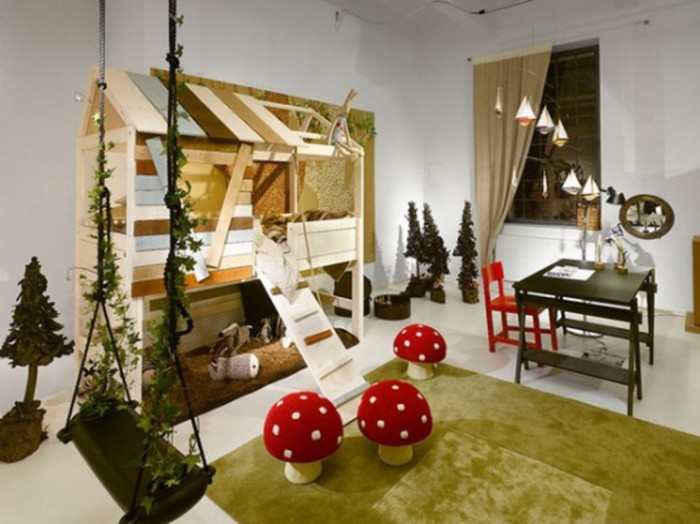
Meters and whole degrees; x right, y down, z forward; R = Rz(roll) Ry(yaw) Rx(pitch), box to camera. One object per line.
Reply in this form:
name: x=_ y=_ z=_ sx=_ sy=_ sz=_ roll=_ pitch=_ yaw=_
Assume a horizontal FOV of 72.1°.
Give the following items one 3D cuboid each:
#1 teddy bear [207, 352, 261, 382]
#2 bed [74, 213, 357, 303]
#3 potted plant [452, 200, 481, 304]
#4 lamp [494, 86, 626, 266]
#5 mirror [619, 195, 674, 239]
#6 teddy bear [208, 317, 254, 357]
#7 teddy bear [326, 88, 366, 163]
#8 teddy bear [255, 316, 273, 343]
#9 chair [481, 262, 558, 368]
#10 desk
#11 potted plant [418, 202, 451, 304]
teddy bear: x=-1.096 y=0.991 z=4.475 sx=0.403 sy=0.225 sz=0.223 roll=-2 pitch=1 yaw=-4
bed: x=-0.726 y=-0.070 z=4.454 sx=2.315 sy=0.557 sz=0.397 roll=-9 pitch=10 yaw=-38
potted plant: x=1.679 y=-0.151 z=6.931 sx=0.338 sy=1.440 sz=0.456 roll=0 pitch=7 yaw=14
lamp: x=2.712 y=-1.089 z=6.164 sx=1.218 sy=2.217 sz=2.123 roll=1 pitch=8 yaw=19
mirror: x=3.935 y=-0.636 z=6.487 sx=0.707 sy=0.807 sz=0.732 roll=6 pitch=8 yaw=37
teddy bear: x=-1.160 y=0.781 z=5.062 sx=0.151 sy=0.281 sz=0.459 roll=-2 pitch=4 yaw=37
teddy bear: x=-0.054 y=-1.388 z=4.907 sx=0.358 sy=0.634 sz=0.694 roll=-2 pitch=8 yaw=-1
teddy bear: x=-0.954 y=0.763 z=5.301 sx=0.148 sy=0.136 sz=0.244 roll=9 pitch=16 yaw=-25
chair: x=1.806 y=0.489 z=5.183 sx=0.531 sy=0.946 sz=0.638 roll=-12 pitch=10 yaw=-43
desk: x=2.247 y=0.430 z=4.663 sx=1.166 sy=1.166 sz=1.575 roll=2 pitch=9 yaw=32
potted plant: x=1.239 y=-0.142 z=7.022 sx=0.379 sy=1.397 sz=0.602 roll=-1 pitch=7 yaw=10
